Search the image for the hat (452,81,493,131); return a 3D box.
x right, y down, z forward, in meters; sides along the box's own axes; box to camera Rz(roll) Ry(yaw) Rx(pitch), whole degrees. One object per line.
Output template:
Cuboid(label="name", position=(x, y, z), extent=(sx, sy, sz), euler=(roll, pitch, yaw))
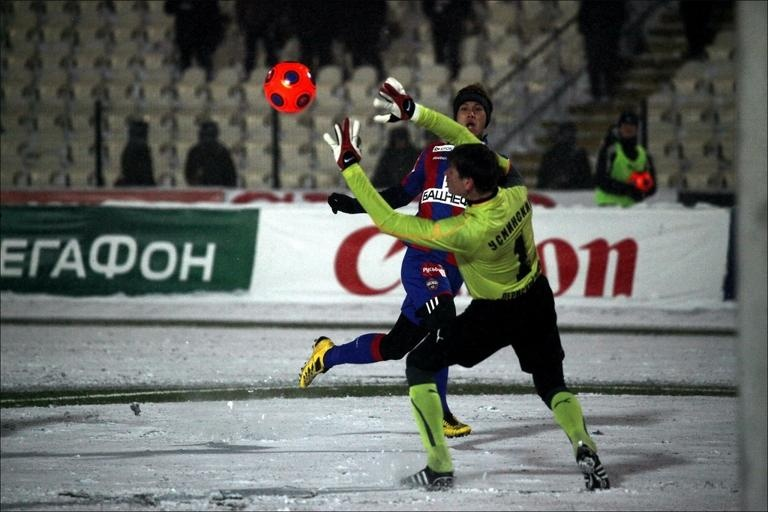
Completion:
Cuboid(label="hat", position=(0.932, -1.598, 15.200), extent=(0.363, 0.427, 0.476), euler=(3, -30, 4))

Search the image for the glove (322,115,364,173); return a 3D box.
Cuboid(label="glove", position=(-0.459, -1.118, 14.390), extent=(0.393, 0.739, 0.473), euler=(2, 20, 12))

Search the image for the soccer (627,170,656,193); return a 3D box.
Cuboid(label="soccer", position=(3.273, -0.934, 18.466), extent=(0.323, 0.274, 0.105), euler=(2, -12, -22))

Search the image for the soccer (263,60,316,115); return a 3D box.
Cuboid(label="soccer", position=(-1.035, -1.906, 16.504), extent=(0.567, 0.561, 0.564), euler=(24, 24, -10))
